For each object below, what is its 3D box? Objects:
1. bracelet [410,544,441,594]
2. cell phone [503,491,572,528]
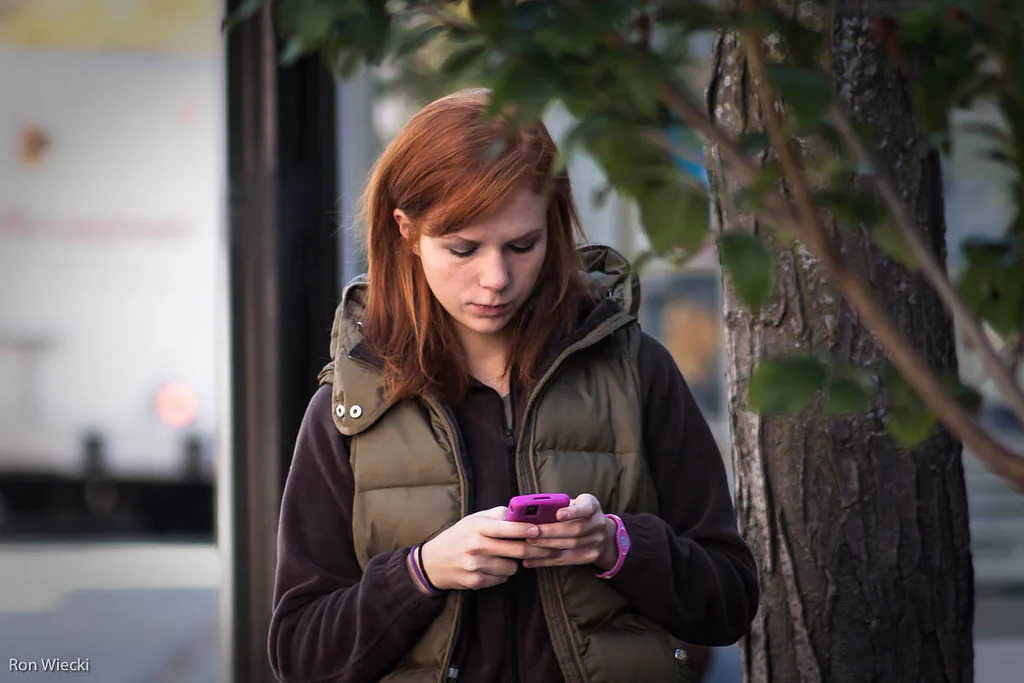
[{"bbox_3d":[-0.262,0.695,6.606,0.102,0.054,0.125,34,-11,34],"label":"bracelet"},{"bbox_3d":[0.075,0.497,6.506,0.144,0.100,0.039,3,18,-10],"label":"cell phone"}]
